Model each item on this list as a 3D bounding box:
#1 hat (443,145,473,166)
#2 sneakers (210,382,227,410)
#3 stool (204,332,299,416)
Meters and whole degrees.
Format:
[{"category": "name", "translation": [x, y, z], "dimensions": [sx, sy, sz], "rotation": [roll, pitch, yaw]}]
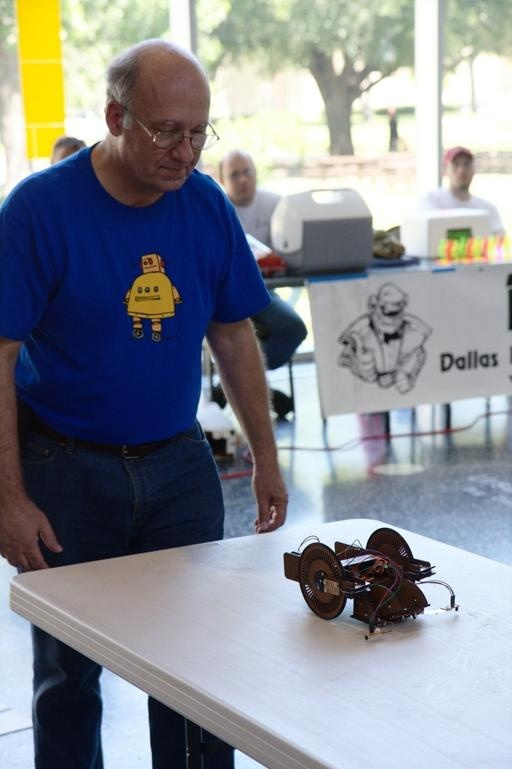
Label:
[{"category": "hat", "translation": [1.211, -1.387, 5.044], "dimensions": [0.148, 0.117, 0.183], "rotation": [-6, 8, -28]}, {"category": "sneakers", "translation": [-0.168, 0.070, 4.452], "dimensions": [0.043, 0.147, 0.113], "rotation": [-24, 14, -32]}, {"category": "stool", "translation": [-0.038, 0.033, 4.583], "dimensions": [0.537, 0.207, 0.342], "rotation": [-1, 56, 7]}]
